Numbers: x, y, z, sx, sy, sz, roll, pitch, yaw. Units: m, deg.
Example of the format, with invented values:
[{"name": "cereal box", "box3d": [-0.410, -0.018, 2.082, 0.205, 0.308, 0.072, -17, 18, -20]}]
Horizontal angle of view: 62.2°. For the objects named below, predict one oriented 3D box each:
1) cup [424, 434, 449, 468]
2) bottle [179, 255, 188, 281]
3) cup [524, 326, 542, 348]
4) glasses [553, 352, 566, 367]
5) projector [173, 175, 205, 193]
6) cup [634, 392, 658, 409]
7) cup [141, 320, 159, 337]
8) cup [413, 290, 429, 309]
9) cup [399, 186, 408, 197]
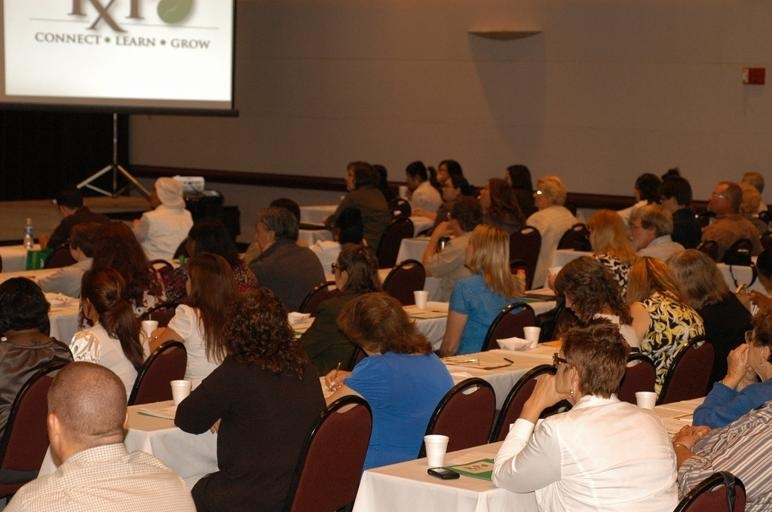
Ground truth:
[{"name": "cup", "box3d": [0.183, 0.786, 2.586, 0.115, 0.121, 0.120, 1, -7, 0]}, {"name": "bottle", "box3d": [-1.734, 0.107, 5.469, 0.078, 0.071, 0.272, 2, 48, -17]}, {"name": "cup", "box3d": [1.019, 0.583, 4.584, 0.120, 0.143, 0.132, 1, -19, 0]}, {"name": "glasses", "box3d": [0.621, 0.385, 2.338, 0.042, 0.018, 0.043, 20, 12, 38]}, {"name": "projector", "box3d": [-3.426, -1.268, 11.432, 0.638, 0.340, 0.591, 1, 7, -7]}, {"name": "cup", "box3d": [1.271, 0.724, 3.150, 0.092, 0.094, 0.064, -1, 11, -7]}, {"name": "cup", "box3d": [-1.530, 0.475, 4.160, 0.117, 0.105, 0.125, 1, -5, 0]}, {"name": "cup", "box3d": [0.290, 0.384, 5.636, 0.126, 0.140, 0.133, 0, -3, 0]}, {"name": "cup", "box3d": [0.287, -1.171, 11.640, 0.126, 0.215, 0.231, -3, 5, -25]}]
